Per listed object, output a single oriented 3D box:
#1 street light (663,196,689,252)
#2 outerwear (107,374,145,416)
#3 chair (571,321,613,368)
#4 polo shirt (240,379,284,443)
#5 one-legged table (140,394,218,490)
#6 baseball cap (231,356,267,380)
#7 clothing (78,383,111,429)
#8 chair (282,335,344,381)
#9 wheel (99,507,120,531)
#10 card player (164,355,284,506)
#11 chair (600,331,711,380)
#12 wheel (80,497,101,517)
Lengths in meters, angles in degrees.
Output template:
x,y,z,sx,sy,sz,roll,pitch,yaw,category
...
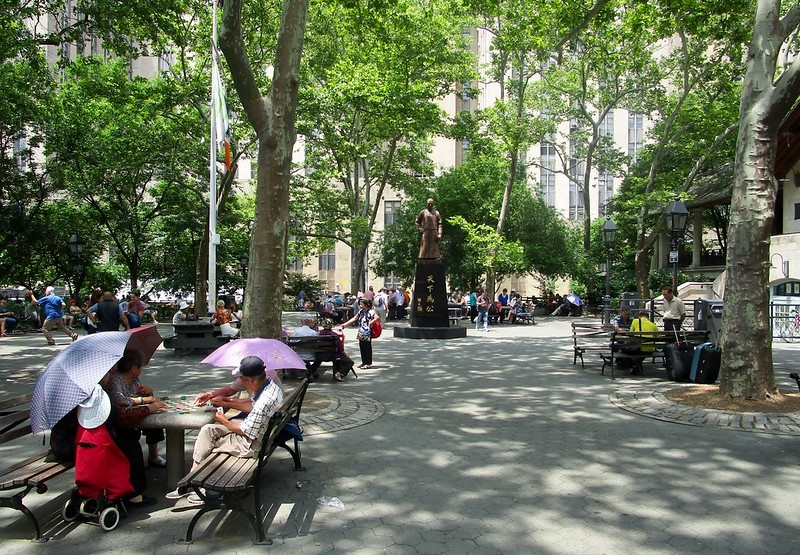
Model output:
x,y,z,sx,sy,sz,roll,pitch,yaw,category
8.811,-1.686,22.738,0.536,1.854,4.670,3,11,22,street light
-4.305,1.829,11.235,0.286,0.651,0.551,-33,-17,32,outerwear
5.429,1.945,20.256,1.066,0.646,0.430,2,-3,-16,chair
-2.148,2.045,11.102,0.342,0.887,0.656,40,4,-19,polo shirt
-3.526,2.497,11.555,1.088,0.936,1.968,2,-1,-3,one-legged table
-2.399,1.426,11.296,0.422,0.211,0.306,3,9,8,baseball cap
-4.575,1.917,10.628,0.470,0.613,0.240,-26,-9,-7,clothing
-2.015,1.832,16.410,1.262,0.695,0.472,0,7,11,chair
-4.330,3.570,10.602,0.112,0.302,0.315,-7,-9,35,wheel
-2.741,2.420,11.579,1.707,2.417,1.145,8,10,9,card player
6.191,1.920,17.768,2.258,1.293,1.817,2,11,19,chair
-4.653,3.455,10.714,0.292,0.334,0.314,-2,11,0,wheel
